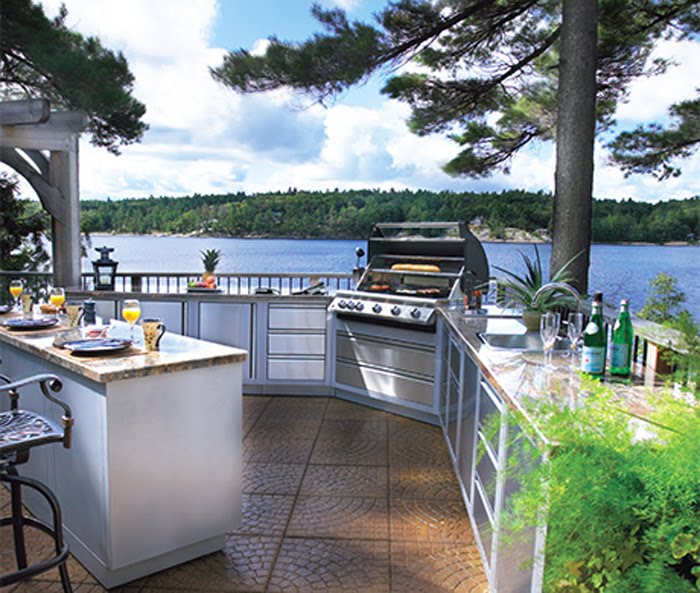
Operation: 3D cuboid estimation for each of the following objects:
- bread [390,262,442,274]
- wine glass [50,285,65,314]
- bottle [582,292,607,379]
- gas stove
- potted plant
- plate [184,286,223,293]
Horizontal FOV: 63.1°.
[{"bbox_3d":[0.537,-0.236,4.620,0.145,0.077,0.490,-8,13,-43],"label":"bread"},{"bbox_3d":[-1.761,0.021,3.450,0.074,0.175,0.305,-4,10,-28],"label":"wine glass"},{"bbox_3d":[0.900,0.138,2.095,0.078,0.275,0.358,5,10,23],"label":"bottle"},{"bbox_3d":[0.271,0.086,4.398,1.090,0.247,0.215,10,13,43],"label":"gas stove"},{"bbox_3d":[1.217,-0.045,3.368,0.623,0.601,0.651,-2,5,-22],"label":"potted plant"},{"bbox_3d":[-1.256,-0.067,4.921,0.299,0.057,0.151,0,9,-3],"label":"plate"}]
